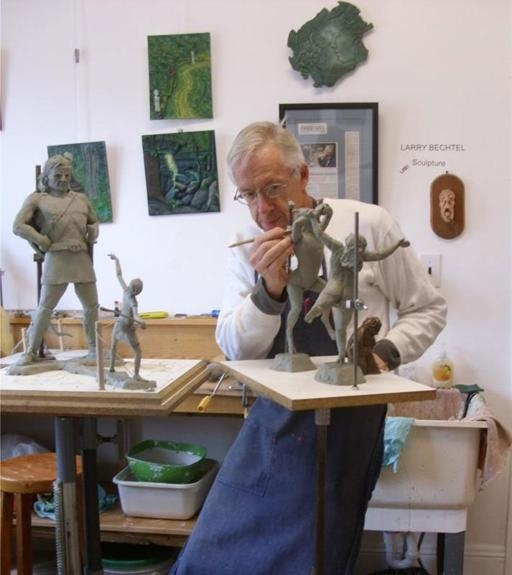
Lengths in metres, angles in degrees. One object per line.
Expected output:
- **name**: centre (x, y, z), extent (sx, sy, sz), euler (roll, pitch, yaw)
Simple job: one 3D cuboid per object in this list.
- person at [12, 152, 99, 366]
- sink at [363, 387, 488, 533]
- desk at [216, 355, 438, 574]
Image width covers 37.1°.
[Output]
- **person**: centre (-0.803, -0.117, 3.094), extent (0.327, 0.821, 0.342), euler (-1, 8, -13)
- **sink**: centre (0.657, 0.743, 2.988), extent (0.372, 0.318, 0.521), euler (-1, -16, 14)
- **desk**: centre (0.176, 0.546, 2.272), extent (0.482, 0.674, 0.523), euler (-1, 8, -15)
